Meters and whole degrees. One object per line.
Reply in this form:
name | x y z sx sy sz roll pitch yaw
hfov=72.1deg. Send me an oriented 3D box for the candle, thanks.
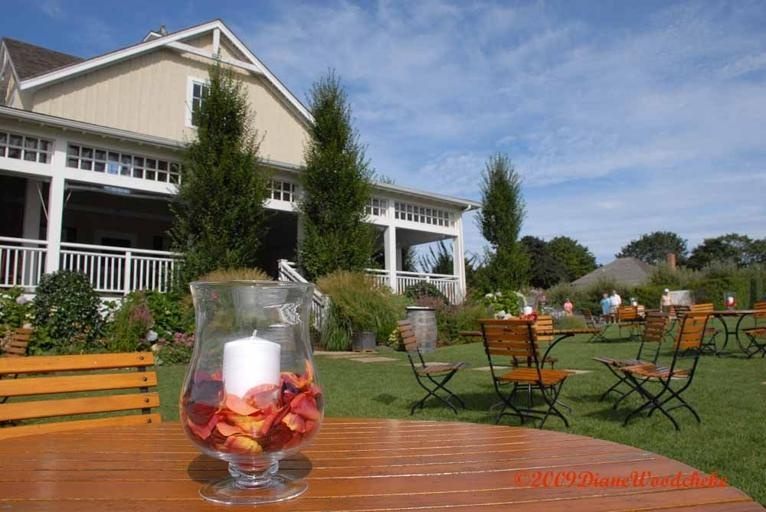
candle | -0.819 0.679 3.275 0.354 0.384 0.103 2 -2 -10
